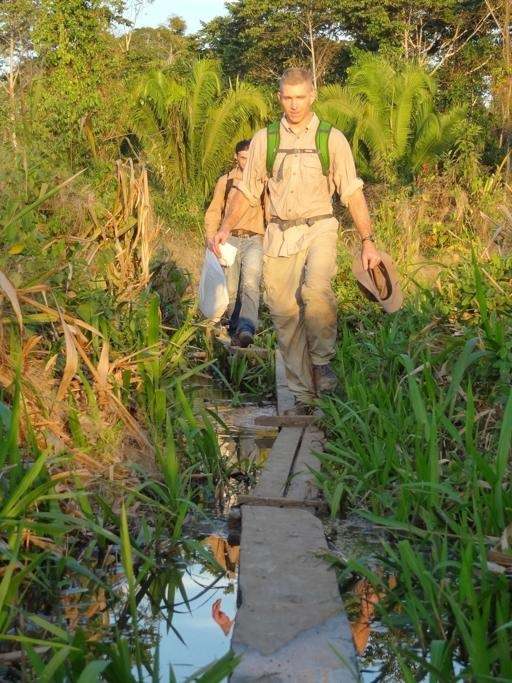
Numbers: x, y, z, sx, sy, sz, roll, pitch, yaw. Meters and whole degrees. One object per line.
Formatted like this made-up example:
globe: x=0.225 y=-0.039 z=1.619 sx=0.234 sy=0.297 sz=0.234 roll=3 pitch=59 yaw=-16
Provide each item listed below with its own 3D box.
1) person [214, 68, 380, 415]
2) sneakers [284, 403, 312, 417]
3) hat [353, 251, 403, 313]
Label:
person: x=0.306 y=-0.723 z=4.329 sx=1.101 sy=2.403 sz=0.794 roll=2 pitch=15 yaw=20
sneakers: x=0.267 y=0.484 z=4.112 sx=0.234 sy=0.105 sz=0.082 roll=2 pitch=-5 yaw=-37
hat: x=0.787 y=-0.364 z=4.031 sx=0.334 sy=0.427 sz=0.126 roll=-14 pitch=-6 yaw=-32
